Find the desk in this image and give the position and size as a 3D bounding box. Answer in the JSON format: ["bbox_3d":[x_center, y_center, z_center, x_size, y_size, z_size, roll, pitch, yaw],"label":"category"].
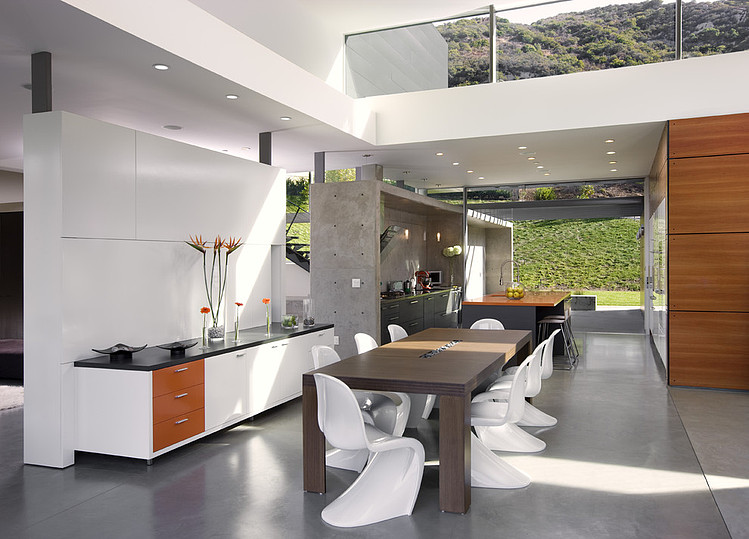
[{"bbox_3d":[0.510,1.314,5.339,1.358,1.059,2.236,2,6,27],"label":"desk"}]

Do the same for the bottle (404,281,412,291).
[{"bbox_3d":[0.756,0.352,12.079,0.214,0.191,0.651,0,6,4],"label":"bottle"}]

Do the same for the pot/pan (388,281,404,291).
[{"bbox_3d":[0.445,0.333,11.624,0.211,0.157,0.214,1,2,32],"label":"pot/pan"}]

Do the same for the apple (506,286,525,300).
[{"bbox_3d":[2.588,0.412,10.028,0.254,0.209,0.256,-1,2,4],"label":"apple"}]

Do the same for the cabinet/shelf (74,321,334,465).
[{"bbox_3d":[-1.893,1.298,6.080,0.688,1.017,2.451,4,7,36],"label":"cabinet/shelf"}]

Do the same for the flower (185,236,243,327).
[{"bbox_3d":[-2.003,0.114,6.969,0.239,1.134,0.918,1,6,17],"label":"flower"}]

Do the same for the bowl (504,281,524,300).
[{"bbox_3d":[2.928,0.423,11.560,0.326,0.308,0.329,0,3,0],"label":"bowl"}]

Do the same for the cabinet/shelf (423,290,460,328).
[{"bbox_3d":[1.492,0.903,12.884,0.829,0.964,1.388,-1,0,24],"label":"cabinet/shelf"}]
